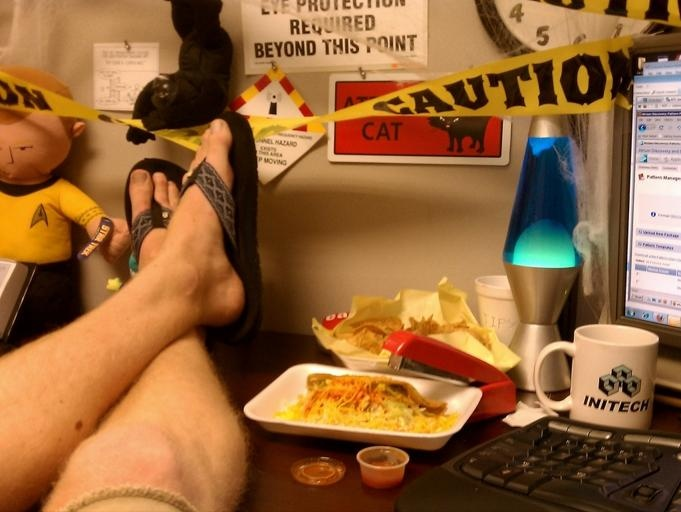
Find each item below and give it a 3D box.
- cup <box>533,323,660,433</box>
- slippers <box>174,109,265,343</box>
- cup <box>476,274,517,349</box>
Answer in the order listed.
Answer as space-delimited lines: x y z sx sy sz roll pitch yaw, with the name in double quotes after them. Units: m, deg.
0.338 0.151 0.652 0.152 0.120 0.100 0 0 33 "cup"
-0.200 -0.049 0.917 0.130 0.401 0.122 -4 3 31 "slippers"
0.249 0.080 0.788 0.089 0.141 0.092 -3 7 0 "cup"
